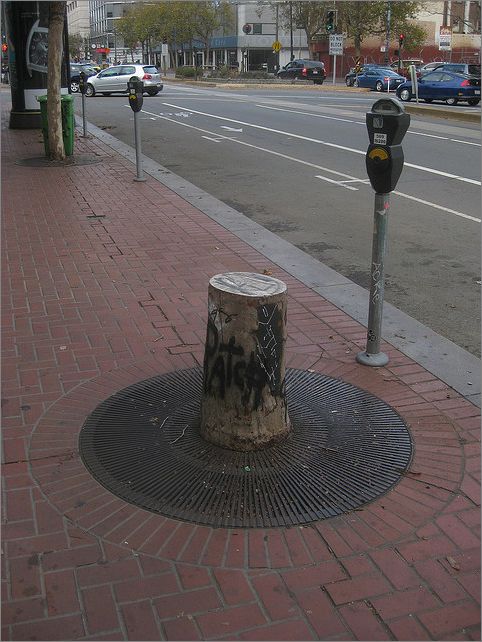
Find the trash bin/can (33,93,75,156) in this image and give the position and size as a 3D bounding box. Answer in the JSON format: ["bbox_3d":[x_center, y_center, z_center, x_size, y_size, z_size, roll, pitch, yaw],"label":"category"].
[{"bbox_3d":[-4.075,-4.372,13.066,0.899,1.298,0.913,-6,18,-26],"label":"trash bin/can"}]
